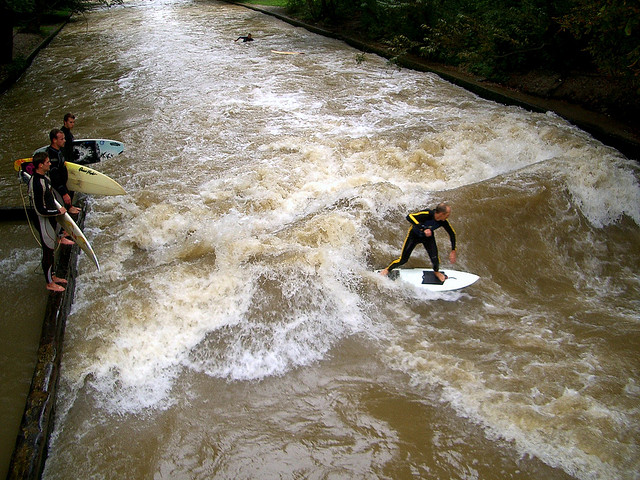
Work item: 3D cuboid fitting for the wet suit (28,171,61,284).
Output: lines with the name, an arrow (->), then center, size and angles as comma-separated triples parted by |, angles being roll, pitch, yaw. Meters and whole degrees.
wet suit -> -6.095, -0.272, 12.739 | 0.722, 2.530, 0.831 | -11, 53, -26

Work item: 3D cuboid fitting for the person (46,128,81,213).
person -> -6.060, -1.563, 13.526 | 0.739, 2.466, 1.005 | 2, 55, -14

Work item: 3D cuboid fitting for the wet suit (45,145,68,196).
wet suit -> -5.996, -1.547, 13.025 | 0.364, 1.278, 0.719 | -2, 77, -19

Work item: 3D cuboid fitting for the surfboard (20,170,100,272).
surfboard -> -6.088, -0.409, 13.390 | 0.297, 3.078, 0.752 | -40, 68, -15

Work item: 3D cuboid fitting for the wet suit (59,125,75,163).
wet suit -> -6.138, -2.287, 13.879 | 0.299, 1.158, 0.699 | 8, 53, -17

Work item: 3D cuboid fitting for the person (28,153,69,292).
person -> -6.036, -0.370, 12.799 | 0.920, 3.409, 1.091 | -1, 48, -24
